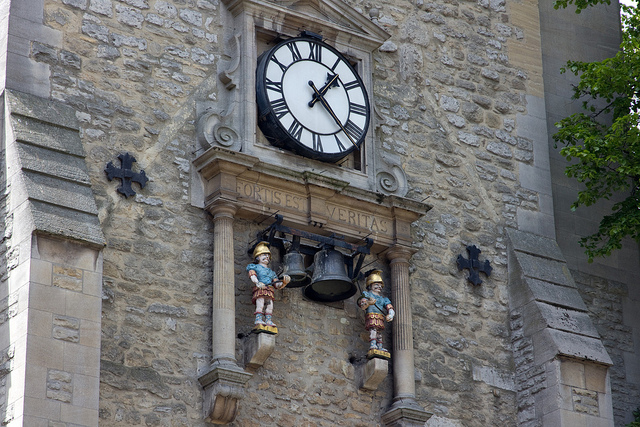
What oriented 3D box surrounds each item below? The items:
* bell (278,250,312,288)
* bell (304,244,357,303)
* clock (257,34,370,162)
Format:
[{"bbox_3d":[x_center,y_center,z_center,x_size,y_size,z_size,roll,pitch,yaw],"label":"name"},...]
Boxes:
[{"bbox_3d":[-0.344,0.847,33.057,0.594,0.557,0.542,-1,-37,3],"label":"bell"},{"bbox_3d":[0.028,0.877,33.298,0.915,0.869,0.856,4,-36,-6],"label":"bell"},{"bbox_3d":[-0.202,-1.814,33.963,2.169,2.109,0.438,6,-28,-32],"label":"clock"}]
